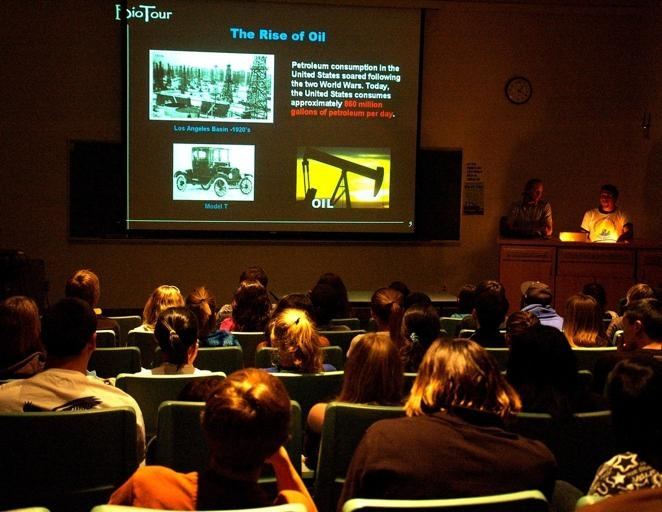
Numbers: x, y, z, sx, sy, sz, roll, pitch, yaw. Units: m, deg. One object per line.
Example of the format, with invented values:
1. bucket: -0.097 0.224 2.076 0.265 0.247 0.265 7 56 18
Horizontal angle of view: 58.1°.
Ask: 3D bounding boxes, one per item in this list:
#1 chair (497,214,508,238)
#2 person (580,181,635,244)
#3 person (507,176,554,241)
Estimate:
1. chair: 2.260 -0.399 7.771 0.108 0.205 0.723 3 2 15
2. person: 3.535 -0.516 7.592 0.588 0.923 0.622 2 -18 29
3. person: 2.561 -0.542 7.665 0.563 0.946 0.518 5 -8 22
